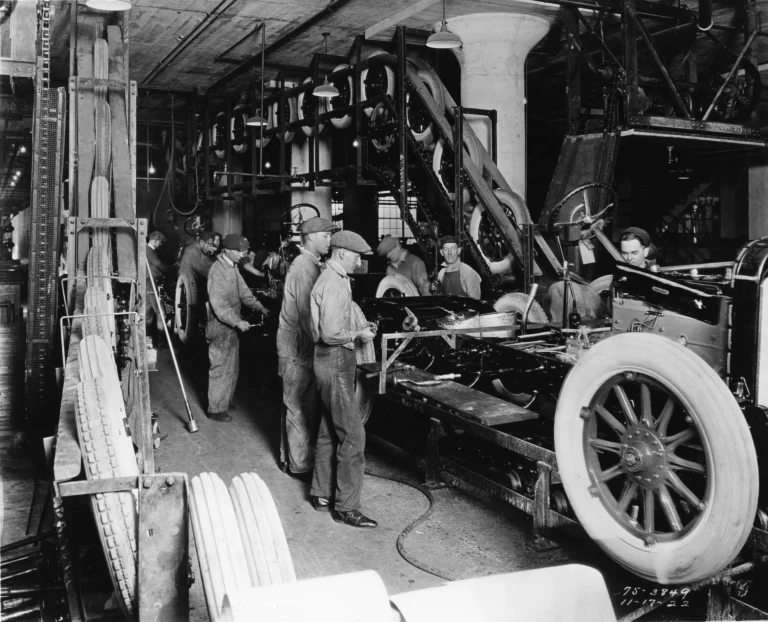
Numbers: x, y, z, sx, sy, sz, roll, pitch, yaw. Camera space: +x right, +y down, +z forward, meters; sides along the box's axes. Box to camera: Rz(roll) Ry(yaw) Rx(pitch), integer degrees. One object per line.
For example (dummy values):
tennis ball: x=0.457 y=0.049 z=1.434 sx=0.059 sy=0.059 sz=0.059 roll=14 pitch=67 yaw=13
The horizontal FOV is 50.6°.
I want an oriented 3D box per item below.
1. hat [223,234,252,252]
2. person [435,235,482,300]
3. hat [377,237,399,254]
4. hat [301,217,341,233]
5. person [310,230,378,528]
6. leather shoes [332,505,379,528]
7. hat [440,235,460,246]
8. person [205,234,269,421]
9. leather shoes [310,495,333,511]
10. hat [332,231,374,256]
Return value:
hat: x=-1.587 y=-0.743 z=8.775 sx=0.177 sy=0.094 sz=0.197 roll=6 pitch=10 yaw=16
person: x=0.830 y=-0.493 z=9.170 sx=0.543 sy=0.936 sz=0.356 roll=-8 pitch=0 yaw=44
hat: x=0.057 y=-0.795 z=9.876 sx=0.258 sy=0.225 sz=0.219 roll=-2 pitch=8 yaw=-11
hat: x=-0.520 y=-0.722 z=6.878 sx=0.215 sy=0.094 sz=0.164 roll=2 pitch=1 yaw=-43
person: x=-0.300 y=0.480 z=6.196 sx=0.447 sy=2.153 sz=0.672 roll=-4 pitch=8 yaw=-27
leather shoes: x=-0.214 y=1.541 z=6.123 sx=0.318 sy=0.162 sz=0.136 roll=3 pitch=0 yaw=17
hat: x=0.750 y=-0.801 z=9.204 sx=0.136 sy=0.104 sz=0.152 roll=2 pitch=2 yaw=16
person: x=-1.696 y=0.095 z=9.239 sx=0.637 sy=1.975 sz=1.518 roll=-1 pitch=8 yaw=-9
leather shoes: x=-0.493 y=1.503 z=6.352 sx=0.201 sy=0.093 sz=0.079 roll=18 pitch=10 yaw=43
hat: x=-0.239 y=-0.539 z=6.281 sx=0.232 sy=0.127 sz=0.185 roll=11 pitch=11 yaw=-10
